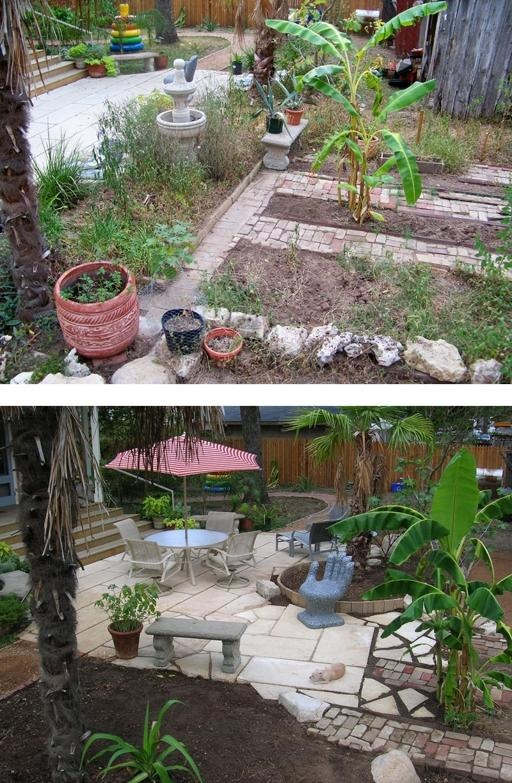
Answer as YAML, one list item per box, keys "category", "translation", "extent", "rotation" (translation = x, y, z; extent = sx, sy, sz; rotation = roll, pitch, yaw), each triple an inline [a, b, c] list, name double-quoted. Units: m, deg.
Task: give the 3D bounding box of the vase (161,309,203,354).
- category: "vase"
  translation: [-0.683, -0.594, 4.358]
  extent: [0.373, 0.312, 0.434]
  rotation: [0, 41, -1]

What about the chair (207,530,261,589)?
- category: "chair"
  translation: [-0.265, 1.821, 5.598]
  extent: [0.522, 0.806, 0.572]
  rotation: [-3, 6, -41]

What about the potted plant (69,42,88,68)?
- category: "potted plant"
  translation: [-3.321, -6.186, 8.808]
  extent: [0.361, 0.400, 0.295]
  rotation: [3, 30, 0]

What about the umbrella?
- category: "umbrella"
  translation: [-0.501, 0.810, 4.284]
  extent: [1.319, 1.004, 1.301]
  rotation: [-4, 7, -13]

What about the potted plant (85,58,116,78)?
- category: "potted plant"
  translation: [-2.872, -6.034, 8.753]
  extent: [0.353, 0.269, 0.413]
  rotation: [-1, 43, -3]

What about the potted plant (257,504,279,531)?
- category: "potted plant"
  translation: [0.134, 1.448, 5.539]
  extent: [0.252, 0.299, 0.217]
  rotation: [-3, 28, 15]

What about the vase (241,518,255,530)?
- category: "vase"
  translation: [-0.115, 1.594, 5.690]
  extent: [0.134, 0.144, 0.143]
  rotation: [0, 10, -1]

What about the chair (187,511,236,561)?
- category: "chair"
  translation: [-0.472, 1.775, 5.941]
  extent: [0.583, 0.765, 0.553]
  rotation: [0, -4, 14]

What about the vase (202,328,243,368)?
- category: "vase"
  translation: [-0.310, -0.410, 4.385]
  extent: [0.366, 0.213, 0.390]
  rotation: [0, 31, -6]

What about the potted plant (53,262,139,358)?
- category: "potted plant"
  translation: [-1.455, -0.698, 4.264]
  extent: [0.534, 0.503, 0.555]
  rotation: [33, 53, 27]

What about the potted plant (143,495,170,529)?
- category: "potted plant"
  translation: [-1.398, 1.643, 6.574]
  extent: [0.406, 0.468, 0.358]
  rotation: [-2, 19, -4]
